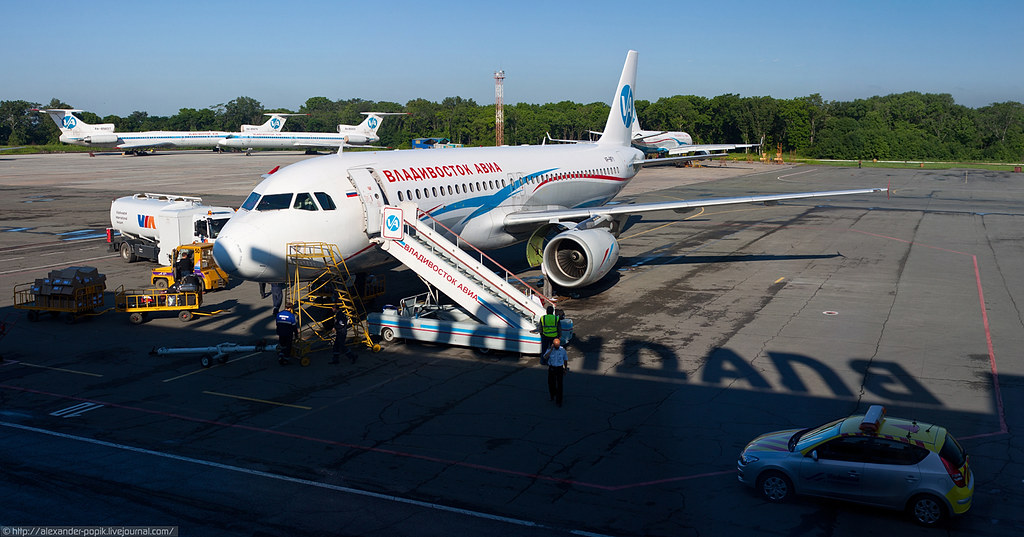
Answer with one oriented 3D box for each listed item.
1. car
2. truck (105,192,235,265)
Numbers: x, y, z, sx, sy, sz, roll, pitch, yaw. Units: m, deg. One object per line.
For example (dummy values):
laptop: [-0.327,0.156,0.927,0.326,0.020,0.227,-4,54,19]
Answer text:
car: [11.504,6.104,20.853,8.370,2.001,3.367,3,11,15]
truck: [-22.206,-2.595,43.141,13.150,3.614,4.630,5,15,32]
